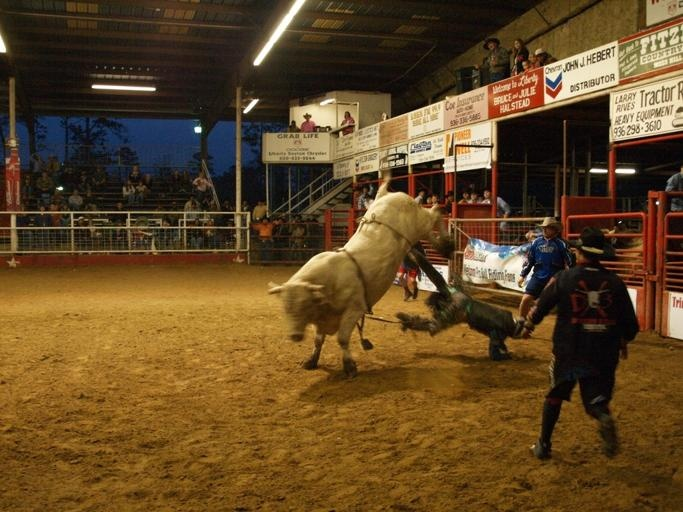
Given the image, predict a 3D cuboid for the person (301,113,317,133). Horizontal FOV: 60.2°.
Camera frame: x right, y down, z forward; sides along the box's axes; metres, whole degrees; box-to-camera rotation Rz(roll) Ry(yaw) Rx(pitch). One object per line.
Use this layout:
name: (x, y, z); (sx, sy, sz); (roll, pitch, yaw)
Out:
person: (-1.417, -5.783, 25.410); (0.727, 0.885, 1.548); (-2, 9, -3)

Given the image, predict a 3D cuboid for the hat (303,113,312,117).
hat: (-1.455, -6.067, 25.386); (0.323, 0.117, 0.340); (-2, -16, 0)

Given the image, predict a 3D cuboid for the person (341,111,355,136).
person: (0.246, -5.347, 23.630); (0.589, 0.949, 1.200); (-1, 10, 0)
